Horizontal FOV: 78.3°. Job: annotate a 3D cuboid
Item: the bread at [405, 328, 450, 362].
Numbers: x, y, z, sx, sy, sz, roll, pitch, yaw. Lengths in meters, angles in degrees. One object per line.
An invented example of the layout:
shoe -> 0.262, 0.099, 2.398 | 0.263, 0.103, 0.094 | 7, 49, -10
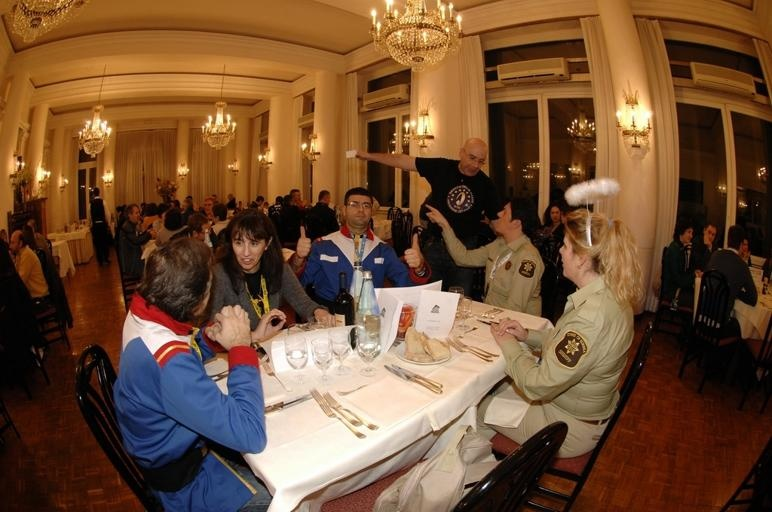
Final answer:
bread -> 0.254, 0.628, 3.163 | 0.213, 0.077, 0.204 | 19, 40, 19

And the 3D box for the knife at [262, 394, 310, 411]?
knife -> -0.604, 0.894, 2.846 | 0.295, 0.056, 0.047 | -14, 45, -35

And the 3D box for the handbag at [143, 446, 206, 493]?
handbag -> -1.218, 1.272, 2.766 | 0.275, 0.230, 0.243 | 5, 0, -3

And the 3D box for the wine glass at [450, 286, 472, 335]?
wine glass -> 0.549, 0.401, 3.551 | 0.153, 0.327, 0.389 | -1, 7, 11

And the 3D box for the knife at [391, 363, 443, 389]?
knife -> 0.190, 0.782, 3.008 | 0.368, 0.034, 0.114 | 18, 32, 37

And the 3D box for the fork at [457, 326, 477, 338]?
fork -> 0.595, 0.561, 3.501 | 0.058, 0.024, 0.167 | 17, 23, 35

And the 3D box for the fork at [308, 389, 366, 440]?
fork -> -0.292, 0.954, 2.785 | 0.047, 0.035, 0.318 | -21, 41, -29

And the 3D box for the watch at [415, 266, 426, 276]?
watch -> 0.283, 0.136, 3.914 | 0.101, 0.079, 0.051 | -2, 6, 0

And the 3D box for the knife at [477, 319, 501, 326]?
knife -> 0.770, 0.509, 3.576 | 0.131, 0.046, 0.031 | 9, 41, 26

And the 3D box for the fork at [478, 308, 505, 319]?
fork -> 0.828, 0.465, 3.751 | 0.072, 0.049, 0.250 | 7, 7, 26

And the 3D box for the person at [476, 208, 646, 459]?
person -> 1.153, 0.534, 3.136 | 0.927, 1.668, 0.539 | 1, 6, 31
